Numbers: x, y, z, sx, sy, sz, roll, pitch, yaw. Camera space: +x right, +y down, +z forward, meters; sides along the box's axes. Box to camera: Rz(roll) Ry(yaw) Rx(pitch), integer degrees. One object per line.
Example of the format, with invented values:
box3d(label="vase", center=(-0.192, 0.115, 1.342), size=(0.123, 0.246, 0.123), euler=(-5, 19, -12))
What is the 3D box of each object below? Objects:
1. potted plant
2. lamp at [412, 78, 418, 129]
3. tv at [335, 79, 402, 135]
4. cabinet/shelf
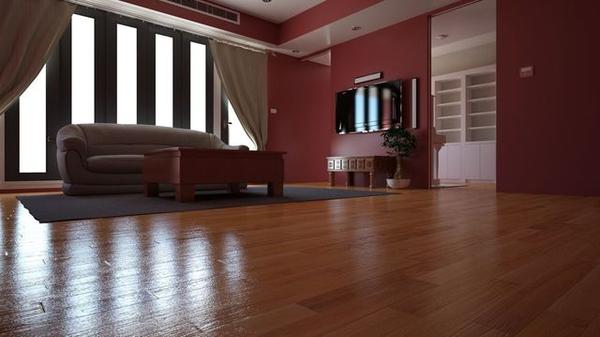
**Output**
box3d(label="potted plant", center=(1.835, -0.225, 6.556), size=(0.601, 1.178, 0.533), euler=(2, 5, 26))
box3d(label="lamp", center=(2.122, -1.213, 6.521), size=(0.141, 0.940, 0.051), euler=(2, 5, 24))
box3d(label="tv", center=(1.314, -1.237, 7.244), size=(1.834, 0.954, 0.181), euler=(-11, 14, -35))
box3d(label="cabinet/shelf", center=(4.046, -1.082, 8.782), size=(1.550, 2.804, 0.882), euler=(3, 5, 32))
